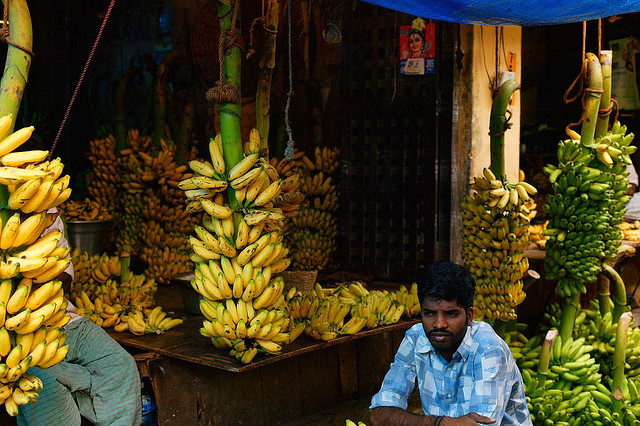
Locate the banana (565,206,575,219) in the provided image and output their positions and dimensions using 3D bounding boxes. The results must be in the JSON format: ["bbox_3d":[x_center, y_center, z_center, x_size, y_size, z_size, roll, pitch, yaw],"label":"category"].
[{"bbox_3d":[2.188,-0.002,5.075,0.040,0.133,0.035,-8,44,-29],"label":"banana"}]

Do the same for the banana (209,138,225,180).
[{"bbox_3d":[-0.836,-0.443,4.757,0.089,0.370,0.091,-19,-10,25],"label":"banana"}]

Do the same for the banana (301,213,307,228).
[{"bbox_3d":[-0.218,0.108,7.502,0.057,0.182,0.043,-1,7,-1],"label":"banana"}]

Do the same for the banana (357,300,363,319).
[{"bbox_3d":[0.369,0.895,5.393,0.032,0.135,0.037,1,-23,-14],"label":"banana"}]

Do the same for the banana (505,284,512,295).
[{"bbox_3d":[1.710,0.692,5.256,0.047,0.073,0.038,6,2,8],"label":"banana"}]

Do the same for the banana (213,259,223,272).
[{"bbox_3d":[-0.821,0.424,4.661,0.028,0.112,0.038,-21,-8,-10],"label":"banana"}]

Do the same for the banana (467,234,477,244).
[{"bbox_3d":[1.408,0.245,5.358,0.060,0.056,0.180,1,-6,-6],"label":"banana"}]

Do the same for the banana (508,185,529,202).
[{"bbox_3d":[1.786,-0.174,5.188,0.098,0.185,0.047,-21,-14,-19],"label":"banana"}]

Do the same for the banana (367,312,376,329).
[{"bbox_3d":[0.473,0.980,5.289,0.063,0.141,0.043,12,5,-1],"label":"banana"}]

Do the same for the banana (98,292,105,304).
[{"bbox_3d":[-2.115,0.819,5.597,0.034,0.144,0.040,-18,0,6],"label":"banana"}]

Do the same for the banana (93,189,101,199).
[{"bbox_3d":[-3.011,-0.247,7.813,0.064,0.128,0.030,-20,-8,14],"label":"banana"}]

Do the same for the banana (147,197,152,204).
[{"bbox_3d":[-2.157,-0.148,7.301,0.050,0.072,0.031,1,3,-7],"label":"banana"}]

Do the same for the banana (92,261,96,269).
[{"bbox_3d":[-2.379,0.554,6.088,0.019,0.021,0.072,30,35,-17],"label":"banana"}]

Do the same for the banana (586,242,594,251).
[{"bbox_3d":[2.354,0.295,5.051,0.062,0.057,0.017,0,5,-5],"label":"banana"}]

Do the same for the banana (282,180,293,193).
[{"bbox_3d":[-0.276,-0.217,4.949,0.064,0.100,0.023,38,-9,-31],"label":"banana"}]

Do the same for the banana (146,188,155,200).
[{"bbox_3d":[-2.137,-0.232,7.320,0.090,0.123,0.049,2,5,23],"label":"banana"}]

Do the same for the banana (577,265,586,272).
[{"bbox_3d":[2.308,0.490,5.103,0.047,0.032,0.038,-13,-33,-1],"label":"banana"}]

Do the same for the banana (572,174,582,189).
[{"bbox_3d":[2.229,-0.267,5.014,0.035,0.140,0.049,20,50,13],"label":"banana"}]

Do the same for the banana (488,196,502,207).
[{"bbox_3d":[1.546,-0.088,5.131,0.033,0.101,0.049,15,29,-54],"label":"banana"}]

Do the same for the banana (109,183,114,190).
[{"bbox_3d":[-2.777,-0.347,7.707,0.072,0.075,0.015,2,5,14],"label":"banana"}]

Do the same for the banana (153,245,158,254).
[{"bbox_3d":[-2.043,0.453,7.201,0.058,0.082,0.093,1,5,1],"label":"banana"}]

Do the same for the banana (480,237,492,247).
[{"bbox_3d":[1.501,0.269,5.265,0.095,0.079,0.036,2,5,18],"label":"banana"}]

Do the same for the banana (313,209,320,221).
[{"bbox_3d":[-0.044,0.040,7.500,0.036,0.150,0.051,17,-6,-3],"label":"banana"}]

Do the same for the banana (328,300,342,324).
[{"bbox_3d":[0.143,0.906,5.310,0.061,0.246,0.076,15,-6,15],"label":"banana"}]

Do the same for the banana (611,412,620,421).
[{"bbox_3d":[2.630,1.812,5.159,0.081,0.061,0.033,1,5,5],"label":"banana"}]

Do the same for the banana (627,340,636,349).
[{"bbox_3d":[3.070,1.291,5.713,0.134,0.047,0.035,-16,16,-39],"label":"banana"}]

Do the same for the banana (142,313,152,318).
[{"bbox_3d":[-1.602,0.949,5.364,0.040,0.012,0.045,10,15,35],"label":"banana"}]

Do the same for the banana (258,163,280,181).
[{"bbox_3d":[-0.412,-0.352,4.959,0.246,0.086,0.071,35,-7,-27],"label":"banana"}]

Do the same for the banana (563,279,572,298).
[{"bbox_3d":[2.233,0.684,5.256,0.042,0.168,0.055,-18,-8,38],"label":"banana"}]

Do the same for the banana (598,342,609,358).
[{"bbox_3d":[2.708,1.320,5.548,0.090,0.148,0.078,-1,5,-12],"label":"banana"}]

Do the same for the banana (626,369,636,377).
[{"bbox_3d":[3.064,1.569,5.704,0.077,0.076,0.018,3,5,24],"label":"banana"}]

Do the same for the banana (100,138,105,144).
[{"bbox_3d":[-2.923,-0.943,7.773,0.048,0.046,0.013,-26,-3,-12],"label":"banana"}]

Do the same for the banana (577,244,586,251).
[{"bbox_3d":[2.294,0.307,5.070,0.052,0.036,0.038,-4,1,41],"label":"banana"}]

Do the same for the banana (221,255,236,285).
[{"bbox_3d":[-0.732,0.455,4.599,0.069,0.267,0.084,-20,-10,14],"label":"banana"}]

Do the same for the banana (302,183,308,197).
[{"bbox_3d":[-0.195,-0.286,7.591,0.042,0.230,0.059,-6,5,17],"label":"banana"}]

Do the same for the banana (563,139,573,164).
[{"bbox_3d":[2.200,-0.530,5.150,0.050,0.239,0.075,14,13,39],"label":"banana"}]

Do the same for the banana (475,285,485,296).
[{"bbox_3d":[1.498,0.725,5.416,0.076,0.100,0.029,3,5,28],"label":"banana"}]

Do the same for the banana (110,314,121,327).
[{"bbox_3d":[-1.866,0.992,5.321,0.051,0.136,0.034,37,7,7],"label":"banana"}]

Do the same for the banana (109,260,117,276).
[{"bbox_3d":[-2.209,0.593,6.198,0.050,0.171,0.103,-1,-5,-22],"label":"banana"}]

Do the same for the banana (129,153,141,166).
[{"bbox_3d":[-2.399,-0.674,7.493,0.031,0.165,0.044,-33,-1,-8],"label":"banana"}]

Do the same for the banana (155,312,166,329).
[{"bbox_3d":[-1.453,0.975,5.257,0.028,0.046,0.138,10,43,7],"label":"banana"}]

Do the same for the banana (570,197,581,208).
[{"bbox_3d":[2.237,-0.082,5.057,0.030,0.101,0.032,28,51,16],"label":"banana"}]

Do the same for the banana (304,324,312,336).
[{"bbox_3d":[-0.107,1.019,5.060,0.057,0.084,0.044,2,12,6],"label":"banana"}]

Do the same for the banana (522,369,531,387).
[{"bbox_3d":[1.928,1.525,5.461,0.050,0.207,0.066,-28,-27,33],"label":"banana"}]

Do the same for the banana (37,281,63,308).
[{"bbox_3d":[-1.761,0.536,3.791,0.180,0.062,0.047,-45,-3,1],"label":"banana"}]

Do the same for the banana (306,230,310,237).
[{"bbox_3d":[-0.160,0.262,7.514,0.041,0.063,0.015,0,5,-2],"label":"banana"}]

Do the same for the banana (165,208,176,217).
[{"bbox_3d":[-1.889,-0.004,7.322,0.124,0.094,0.035,-3,6,-35],"label":"banana"}]

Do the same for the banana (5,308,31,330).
[{"bbox_3d":[-1.920,0.678,3.672,0.076,0.119,0.040,44,-4,36],"label":"banana"}]

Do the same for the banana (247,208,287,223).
[{"bbox_3d":[-0.429,0.032,4.737,0.318,0.133,0.149,-3,6,-39],"label":"banana"}]

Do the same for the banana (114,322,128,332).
[{"bbox_3d":[-1.795,1.028,5.232,0.137,0.087,0.070,1,5,1],"label":"banana"}]

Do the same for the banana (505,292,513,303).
[{"bbox_3d":[1.714,0.773,5.279,0.059,0.119,0.076,1,-1,8],"label":"banana"}]

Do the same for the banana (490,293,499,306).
[{"bbox_3d":[1.606,0.794,5.336,0.037,0.121,0.035,-26,3,14],"label":"banana"}]

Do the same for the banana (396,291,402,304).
[{"bbox_3d":[0.794,0.849,5.810,0.037,0.115,0.032,-7,-26,30],"label":"banana"}]

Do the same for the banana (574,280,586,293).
[{"bbox_3d":[2.333,0.664,5.213,0.144,0.039,0.054,49,1,27],"label":"banana"}]

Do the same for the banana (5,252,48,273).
[{"bbox_3d":[-1.841,0.322,3.731,0.353,0.138,0.099,3,9,-19],"label":"banana"}]

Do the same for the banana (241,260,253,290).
[{"bbox_3d":[-0.570,0.498,4.621,0.064,0.221,0.067,16,-8,-2],"label":"banana"}]

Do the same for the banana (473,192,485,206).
[{"bbox_3d":[1.442,-0.115,5.267,0.043,0.039,0.172,-13,48,-8],"label":"banana"}]
